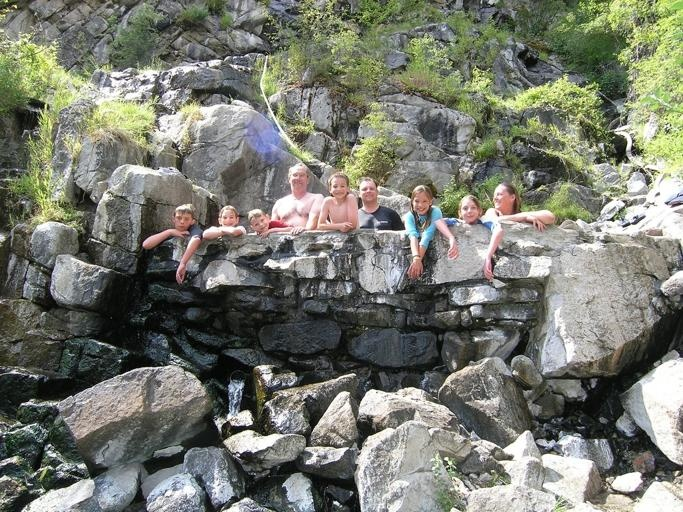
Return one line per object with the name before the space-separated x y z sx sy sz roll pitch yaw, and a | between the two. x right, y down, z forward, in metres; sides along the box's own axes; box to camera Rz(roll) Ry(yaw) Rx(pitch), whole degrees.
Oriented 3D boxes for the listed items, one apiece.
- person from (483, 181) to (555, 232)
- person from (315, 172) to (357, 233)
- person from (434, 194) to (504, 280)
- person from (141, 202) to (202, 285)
person | 2.600 -0.746 8.427 1.029 0.585 0.732 7 13 25
person | 0.053 -0.806 8.759 0.755 1.125 0.755 2 4 20
person | 1.801 -0.407 8.108 0.753 0.437 1.236 -3 53 17
person | -2.511 -0.200 8.875 0.864 1.154 0.516 11 12 24
